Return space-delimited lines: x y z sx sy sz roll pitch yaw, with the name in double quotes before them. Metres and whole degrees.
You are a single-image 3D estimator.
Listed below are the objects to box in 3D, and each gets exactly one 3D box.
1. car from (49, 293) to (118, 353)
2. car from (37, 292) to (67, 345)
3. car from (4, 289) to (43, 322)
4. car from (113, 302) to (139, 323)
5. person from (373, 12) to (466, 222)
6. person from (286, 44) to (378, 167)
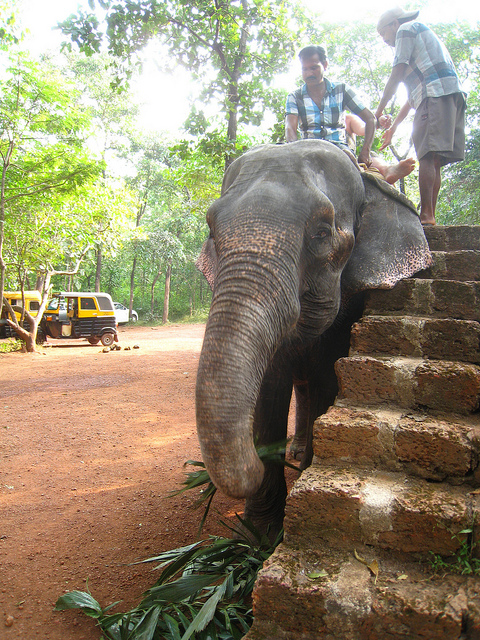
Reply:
"car" -5.490 0.003 16.217 2.585 1.733 1.594 1 2 -17
"car" -6.306 -0.081 15.688 0.727 1.843 0.985 3 -1 -23
"car" -7.906 -0.479 16.698 1.887 1.105 1.265 -1 5 -9
"car" -6.749 -0.470 28.157 1.019 1.017 2.212 4 6 37
"person" 1.523 -1.854 4.098 0.861 1.884 0.687 1 3 31
"person" 0.627 -1.461 3.531 0.679 1.100 0.537 -13 20 -19
